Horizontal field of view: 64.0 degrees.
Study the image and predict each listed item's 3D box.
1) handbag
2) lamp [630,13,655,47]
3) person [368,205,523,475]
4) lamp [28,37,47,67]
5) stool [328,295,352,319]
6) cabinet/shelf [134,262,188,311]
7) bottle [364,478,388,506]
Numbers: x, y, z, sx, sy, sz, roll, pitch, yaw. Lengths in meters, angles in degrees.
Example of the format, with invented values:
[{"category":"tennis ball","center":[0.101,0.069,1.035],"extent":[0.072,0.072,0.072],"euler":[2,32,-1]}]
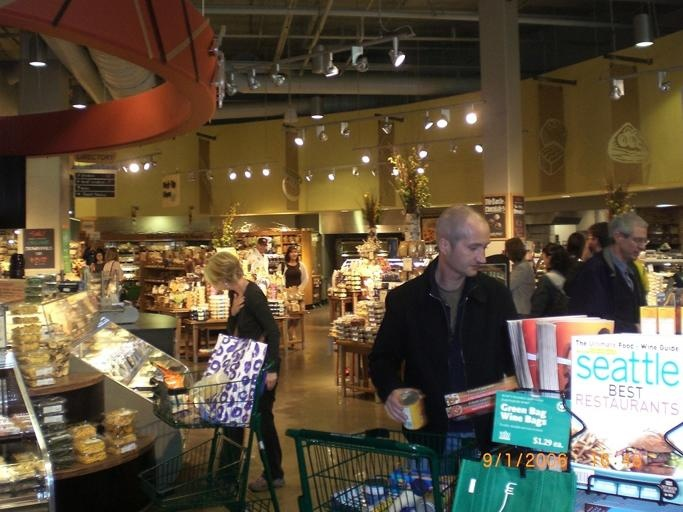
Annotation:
[{"category":"handbag","center":[-0.676,0.684,3.359],"extent":[0.353,0.488,0.556],"euler":[3,30,-22]},{"category":"lamp","center":[4.264,-3.178,7.696],"extent":[0.215,0.554,0.514],"euler":[-1,3,29]},{"category":"person","center":[0.530,0.613,2.765],"extent":[0.780,1.646,0.560],"euler":[-5,18,-5]},{"category":"lamp","center":[-4.313,-2.905,7.717],"extent":[0.208,0.334,0.290],"euler":[-4,3,-29]},{"category":"stool","center":[-0.061,0.988,10.975],"extent":[0.595,0.604,0.592],"euler":[0,-3,-1]},{"category":"cabinet/shelf","center":[-3.987,0.673,12.067],"extent":[1.100,1.059,0.367],"euler":[-3,-5,43]},{"category":"bottle","center":[0.120,0.839,1.959],"extent":[0.088,0.091,0.088],"euler":[0,-4,-4]}]
